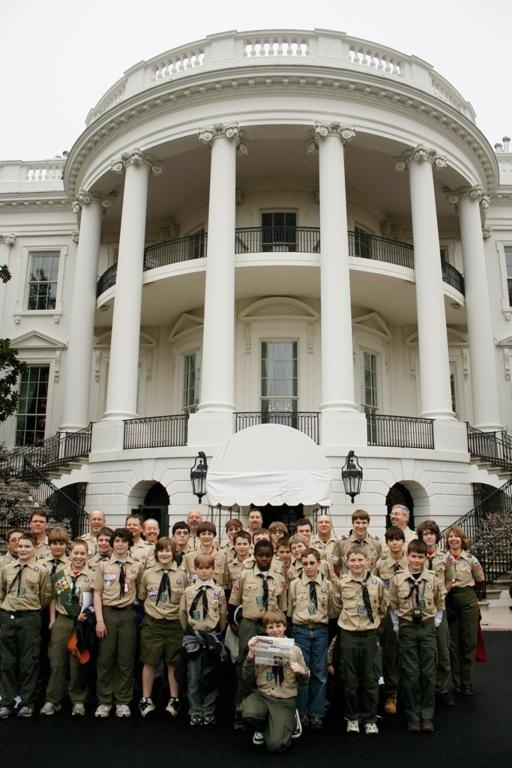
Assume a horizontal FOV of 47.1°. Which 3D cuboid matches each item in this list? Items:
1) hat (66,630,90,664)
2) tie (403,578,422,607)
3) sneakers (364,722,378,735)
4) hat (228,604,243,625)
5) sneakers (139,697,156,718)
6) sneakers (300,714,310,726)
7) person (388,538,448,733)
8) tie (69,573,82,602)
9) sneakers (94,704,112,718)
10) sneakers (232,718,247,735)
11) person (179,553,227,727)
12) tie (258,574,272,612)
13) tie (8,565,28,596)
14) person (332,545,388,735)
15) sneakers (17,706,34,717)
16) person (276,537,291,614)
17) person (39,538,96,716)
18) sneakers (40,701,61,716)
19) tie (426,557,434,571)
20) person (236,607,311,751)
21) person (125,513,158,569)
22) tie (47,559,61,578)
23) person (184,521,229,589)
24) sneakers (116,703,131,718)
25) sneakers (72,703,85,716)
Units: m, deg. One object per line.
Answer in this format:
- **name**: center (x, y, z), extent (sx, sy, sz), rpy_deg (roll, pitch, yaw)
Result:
- **hat**: center (-1.651, 2.488, 5.507), extent (0.120, 0.284, 0.217), rpy_deg (-17, -8, -20)
- **tie**: center (1.453, 1.944, 5.468), extent (0.163, 0.296, 0.109), rpy_deg (-15, -64, 12)
- **sneakers**: center (0.988, 2.940, 5.031), extent (0.067, 0.049, 0.115), rpy_deg (-1, -15, 1)
- **hat**: center (-0.207, 2.237, 5.707), extent (0.174, 0.240, 0.233), rpy_deg (4, -29, -2)
- **sneakers**: center (-1.007, 3.008, 5.475), extent (0.102, 0.089, 0.180), rpy_deg (5, -12, -24)
- **sneakers**: center (0.431, 2.970, 5.198), extent (0.092, 0.134, 0.039), rpy_deg (0, 2, 15)
- **person**: center (1.489, 2.255, 5.395), extent (0.477, 1.574, 0.416), rpy_deg (-2, -18, 7)
- **tie**: center (-1.768, 1.979, 5.774), extent (0.112, 0.205, 0.048), rpy_deg (-11, -12, 25)
- **sneakers**: center (-1.419, 3.032, 5.464), extent (0.078, 0.062, 0.132), rpy_deg (3, -13, -5)
- **sneakers**: center (-0.138, 2.933, 5.042), extent (0.184, 0.064, 0.213), rpy_deg (4, -18, 1)
- **person**: center (-0.480, 2.409, 5.358), extent (0.444, 1.234, 0.484), rpy_deg (5, -18, -12)
- **tie**: center (0.081, 1.949, 5.516), extent (0.097, 0.316, 0.089), rpy_deg (-3, -18, 10)
- **tie**: center (-2.352, 1.934, 5.786), extent (0.155, 0.216, 0.057), rpy_deg (4, -21, -17)
- **person**: center (0.954, 2.308, 5.177), extent (0.429, 1.359, 0.356), rpy_deg (-3, -18, 11)
- **sneakers**: center (-2.114, 2.992, 5.371), extent (0.070, 0.066, 0.154), rpy_deg (0, -16, -2)
- **person**: center (0.294, 1.943, 6.183), extent (0.235, 0.723, 0.212), rpy_deg (-2, 9, 4)
- **person**: center (-1.789, 2.338, 5.755), extent (0.393, 1.577, 0.562), rpy_deg (17, -24, -41)
- **sneakers**: center (-1.943, 3.045, 5.521), extent (0.080, 0.088, 0.206), rpy_deg (-4, -24, 3)
- **tie**: center (1.784, 1.835, 6.028), extent (0.088, 0.130, 0.046), rpy_deg (-5, -2, -2)
- **person**: center (0.150, 2.330, 4.668), extent (0.556, 1.000, 0.775), rpy_deg (0, -18, 1)
- **person**: center (-1.326, 1.816, 6.410), extent (0.393, 0.802, 0.231), rpy_deg (1, -48, -16)
- **tie**: center (-2.048, 1.868, 5.954), extent (0.149, 0.209, 0.059), rpy_deg (5, -52, -10)
- **person**: center (-0.517, 1.802, 6.155), extent (0.439, 0.760, 0.265), rpy_deg (-2, 2, -3)
- **sneakers**: center (-1.236, 3.032, 5.463), extent (0.092, 0.057, 0.140), rpy_deg (3, 14, -17)
- **sneakers**: center (-1.650, 3.030, 5.491), extent (0.123, 0.093, 0.171), rpy_deg (5, -19, -15)
